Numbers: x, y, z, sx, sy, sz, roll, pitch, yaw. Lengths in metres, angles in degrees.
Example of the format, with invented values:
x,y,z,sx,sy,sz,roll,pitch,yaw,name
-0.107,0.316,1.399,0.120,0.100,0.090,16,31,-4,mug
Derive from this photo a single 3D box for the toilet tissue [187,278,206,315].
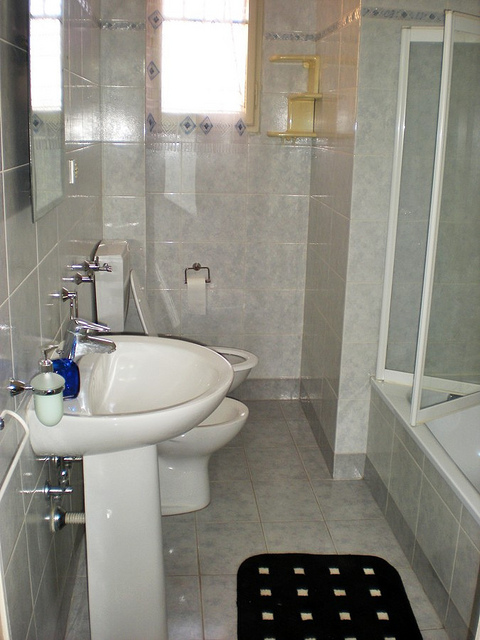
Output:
x,y,z,sx,sy,sz,roll,pitch,yaw,name
-0.244,-0.142,2.884,0.117,0.264,0.126,0,25,-1,toilet tissue

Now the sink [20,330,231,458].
x,y,z,sx,sy,sz,roll,pitch,yaw,name
-0.265,0.174,1.249,0.455,0.185,0.511,-5,18,-24,sink

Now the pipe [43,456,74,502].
x,y,z,sx,sy,sz,roll,pitch,yaw,name
-0.447,0.392,1.278,0.062,0.118,0.047,4,8,0,pipe
